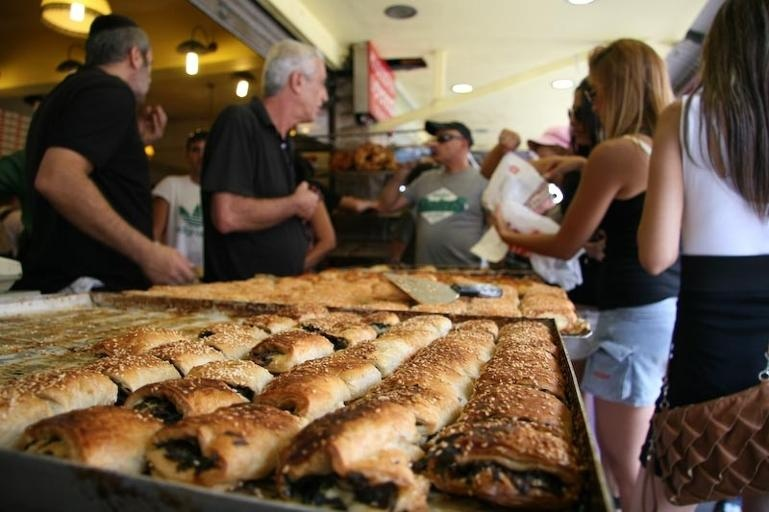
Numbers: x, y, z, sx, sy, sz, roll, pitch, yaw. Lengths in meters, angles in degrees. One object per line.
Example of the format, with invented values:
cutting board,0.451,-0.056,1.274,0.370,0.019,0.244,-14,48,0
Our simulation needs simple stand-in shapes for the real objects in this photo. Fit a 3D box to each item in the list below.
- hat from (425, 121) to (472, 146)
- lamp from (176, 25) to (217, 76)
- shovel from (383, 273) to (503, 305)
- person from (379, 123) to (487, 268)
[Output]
hat,0.728,-1.405,5.913,0.436,0.110,0.252,15,4,-20
lamp,-2.454,-2.627,6.813,0.368,0.595,0.482,-1,8,-9
shovel,0.389,0.221,3.381,0.519,0.069,0.300,4,12,-33
person,0.695,-0.709,6.064,0.841,1.592,1.405,-15,24,-23
